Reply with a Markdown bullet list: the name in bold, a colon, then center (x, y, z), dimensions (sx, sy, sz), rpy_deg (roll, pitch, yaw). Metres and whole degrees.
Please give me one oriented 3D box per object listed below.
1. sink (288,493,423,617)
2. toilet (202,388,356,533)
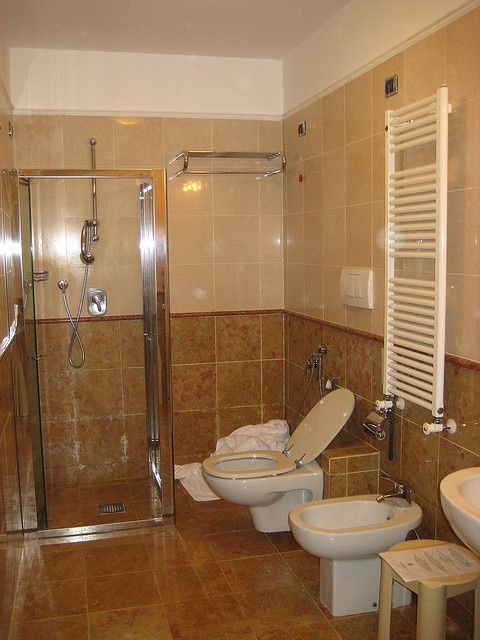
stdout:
- **sink**: center (0.413, 0.898, 1.969), dimensions (0.463, 0.397, 0.343), rpy_deg (-3, 6, -15)
- **toilet**: center (0.185, 0.682, 2.771), dimensions (0.771, 0.903, 0.560), rpy_deg (-1, 4, -13)
